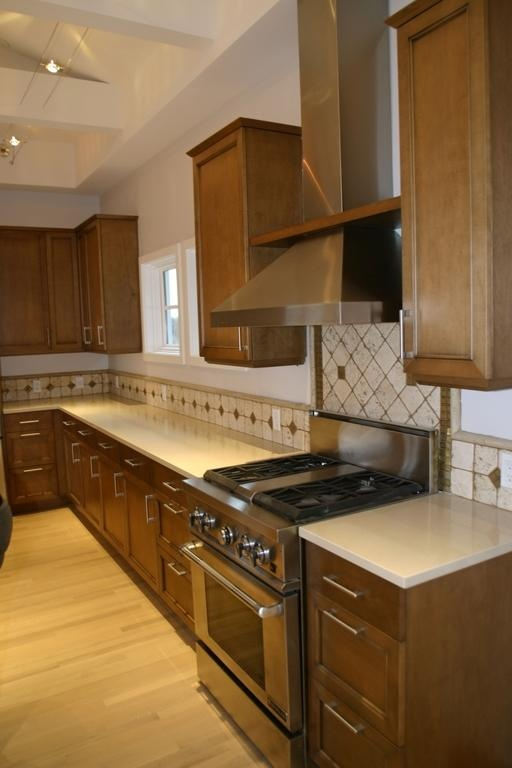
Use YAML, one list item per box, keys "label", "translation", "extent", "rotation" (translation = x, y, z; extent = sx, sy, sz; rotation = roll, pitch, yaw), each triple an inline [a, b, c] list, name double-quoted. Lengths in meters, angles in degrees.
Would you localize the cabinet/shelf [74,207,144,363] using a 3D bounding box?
- label: "cabinet/shelf"
  translation: [-1.130, -0.781, 4.507]
  extent: [0.479, 1.382, 0.947]
  rotation: [-6, 15, -25]
